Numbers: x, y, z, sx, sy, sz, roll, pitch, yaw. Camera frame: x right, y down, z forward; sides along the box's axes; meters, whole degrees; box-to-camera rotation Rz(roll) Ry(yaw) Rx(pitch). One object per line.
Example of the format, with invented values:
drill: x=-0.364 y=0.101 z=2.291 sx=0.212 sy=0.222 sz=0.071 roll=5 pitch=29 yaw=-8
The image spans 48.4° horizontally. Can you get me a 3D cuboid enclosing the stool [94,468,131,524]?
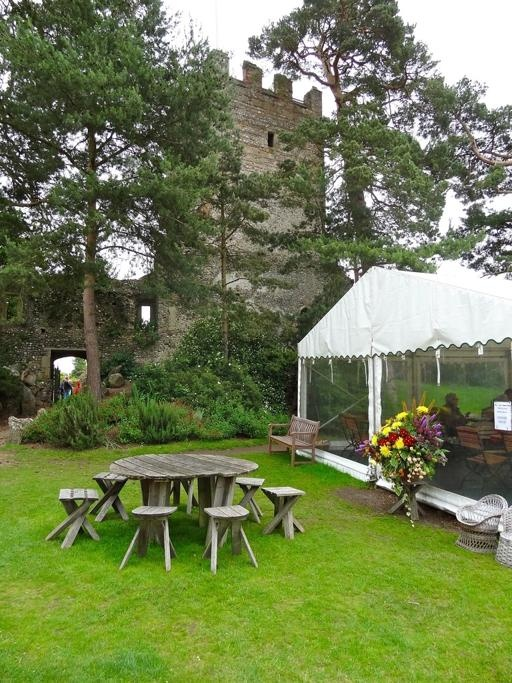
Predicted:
stool: x=-1.644 y=1.719 z=6.369 sx=0.324 sy=0.408 sz=0.302 roll=10 pitch=-4 yaw=11

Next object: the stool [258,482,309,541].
stool: x=0.308 y=1.817 z=6.027 sx=0.420 sy=0.399 sz=0.443 roll=-2 pitch=-11 yaw=7

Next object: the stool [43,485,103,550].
stool: x=-1.746 y=1.720 z=5.601 sx=0.375 sy=0.443 sz=0.487 roll=3 pitch=-2 yaw=-8

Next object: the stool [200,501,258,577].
stool: x=-0.255 y=1.776 z=5.145 sx=0.377 sy=0.497 sz=0.428 roll=-1 pitch=-1 yaw=-25

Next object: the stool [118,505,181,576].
stool: x=-0.958 y=1.738 z=5.201 sx=0.405 sy=0.551 sz=0.473 roll=8 pitch=8 yaw=0

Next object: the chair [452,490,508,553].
chair: x=2.212 y=1.832 z=5.822 sx=0.482 sy=0.596 sz=0.501 roll=6 pitch=-11 yaw=-22

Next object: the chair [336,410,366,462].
chair: x=1.547 y=1.540 z=9.272 sx=0.402 sy=0.696 sz=0.966 roll=1 pitch=-3 yaw=-6
